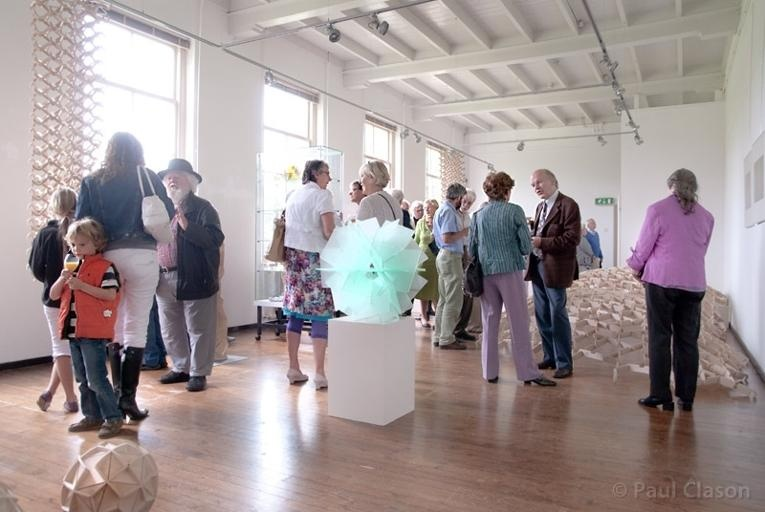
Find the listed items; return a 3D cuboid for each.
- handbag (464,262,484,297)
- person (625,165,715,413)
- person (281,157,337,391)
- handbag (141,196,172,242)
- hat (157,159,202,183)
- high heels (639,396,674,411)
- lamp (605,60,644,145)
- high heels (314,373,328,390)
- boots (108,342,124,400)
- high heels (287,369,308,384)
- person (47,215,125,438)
[{"bbox_3d":[0.890,0.231,5.250,0.157,0.353,0.327,3,1,23],"label":"handbag"},{"bbox_3d":[2.509,0.289,4.730,0.690,2.285,0.333,1,0,12],"label":"person"},{"bbox_3d":[-0.674,0.182,5.141,0.698,1.869,0.396,1,0,42],"label":"person"},{"bbox_3d":[-1.815,-0.295,4.317,0.234,0.344,0.127,-15,13,-29],"label":"handbag"},{"bbox_3d":[-1.927,-0.832,5.254,0.263,0.119,0.309,3,-4,5],"label":"hat"},{"bbox_3d":[2.400,1.287,4.749,0.274,0.127,0.104,4,4,36],"label":"high heels"},{"bbox_3d":[5.144,-3.289,11.447,0.395,1.498,0.249,-26,20,-3],"label":"lamp"},{"bbox_3d":[-0.591,1.201,5.172,0.087,0.124,0.179,2,9,17],"label":"high heels"},{"bbox_3d":[-2.161,0.939,4.404,0.119,0.438,0.105,-5,-4,-37],"label":"boots"},{"bbox_3d":[-0.845,1.200,5.406,0.089,0.117,0.269,1,3,21],"label":"high heels"},{"bbox_3d":[-2.322,0.554,4.239,0.508,1.234,0.362,1,0,-10],"label":"person"}]
